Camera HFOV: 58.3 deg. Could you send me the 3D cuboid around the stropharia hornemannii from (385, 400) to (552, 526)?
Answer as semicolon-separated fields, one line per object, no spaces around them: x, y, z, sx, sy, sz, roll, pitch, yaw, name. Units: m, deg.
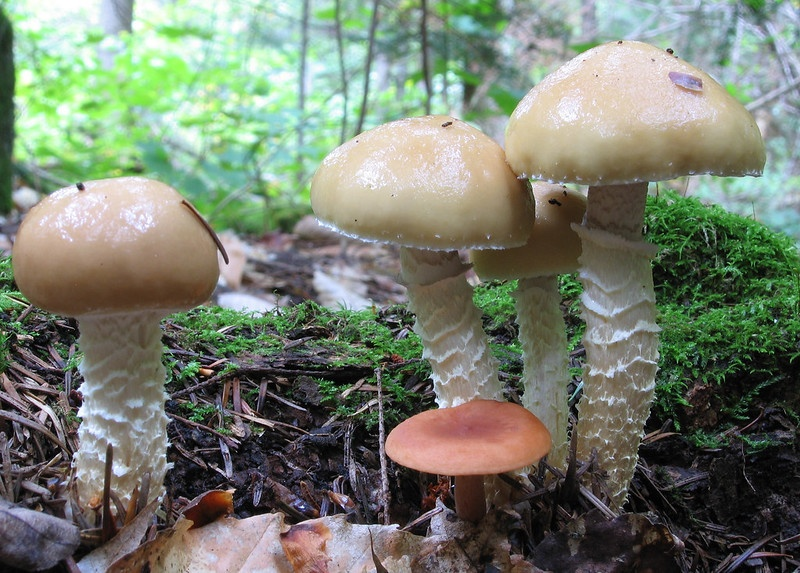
0.410;0.932;4.314;0.815;0.551;0.782;2;21;9;stropharia hornemannii
